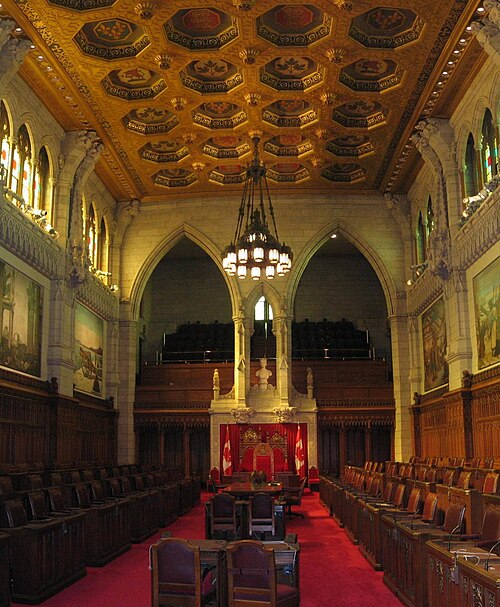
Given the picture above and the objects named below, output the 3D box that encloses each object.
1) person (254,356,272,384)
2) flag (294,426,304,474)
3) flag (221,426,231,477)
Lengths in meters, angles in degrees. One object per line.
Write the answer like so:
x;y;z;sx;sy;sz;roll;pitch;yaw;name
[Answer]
0.492;2.531;20.810;0.555;1.208;1.419;0;-14;1;person
1.685;4.879;19.069;0.343;1.627;0.440;-1;-14;5;flag
-0.767;4.862;19.079;0.324;1.562;0.794;1;-14;-4;flag
